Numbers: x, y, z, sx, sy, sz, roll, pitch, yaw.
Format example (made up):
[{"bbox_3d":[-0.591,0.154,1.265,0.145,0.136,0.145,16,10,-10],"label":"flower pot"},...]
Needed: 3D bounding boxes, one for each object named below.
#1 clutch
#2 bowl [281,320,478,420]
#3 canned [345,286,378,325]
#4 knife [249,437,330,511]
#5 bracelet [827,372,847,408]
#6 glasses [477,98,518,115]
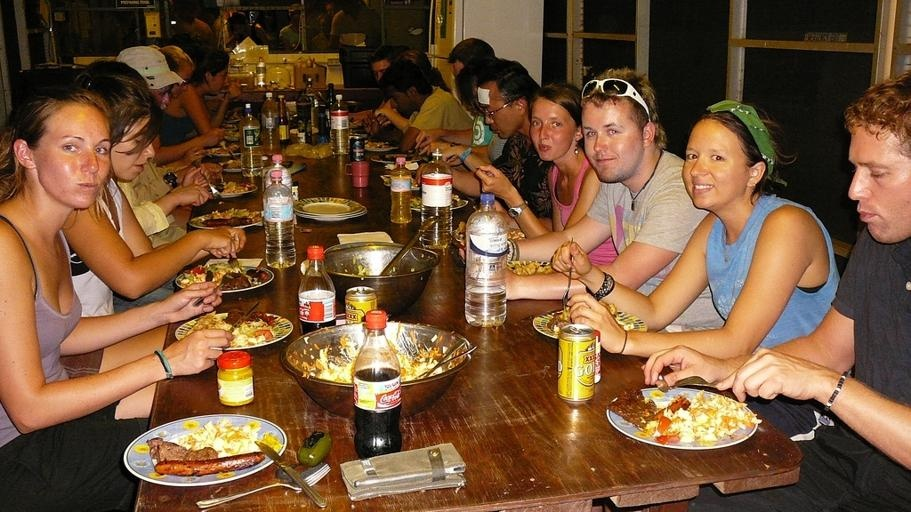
[{"bbox_3d":[-0.157,0.690,1.948,0.301,0.069,0.167,-5,25,-13],"label":"clutch"},{"bbox_3d":[-0.269,0.421,2.145,0.656,0.191,0.647,1,10,0],"label":"bowl"},{"bbox_3d":[-0.361,0.202,2.510,0.161,0.150,0.149,0,6,-4],"label":"canned"},{"bbox_3d":[-0.530,0.711,1.947,0.043,0.019,0.362,-28,44,-34],"label":"knife"},{"bbox_3d":[1.418,0.510,2.247,0.107,0.135,0.031,-17,25,-37],"label":"bracelet"},{"bbox_3d":[0.350,-1.161,4.703,0.172,0.050,0.160,-19,14,-21],"label":"glasses"}]
